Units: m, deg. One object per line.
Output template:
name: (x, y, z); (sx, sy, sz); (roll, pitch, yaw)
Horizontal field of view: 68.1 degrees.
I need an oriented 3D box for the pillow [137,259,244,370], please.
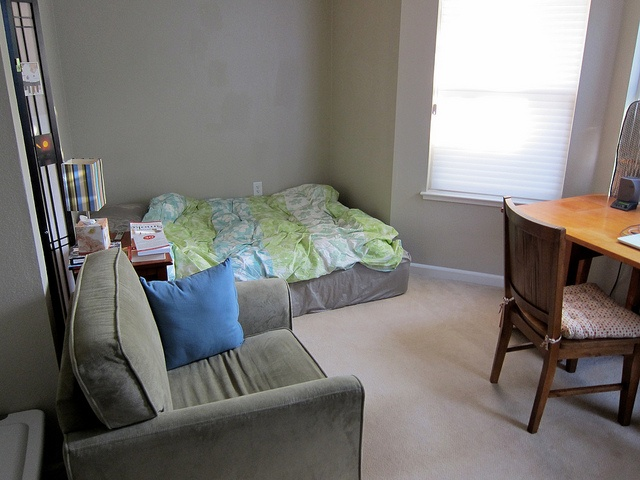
pillow: (-0.591, 0.362, 2.181); (0.377, 0.370, 0.141); (-20, -1, -28)
